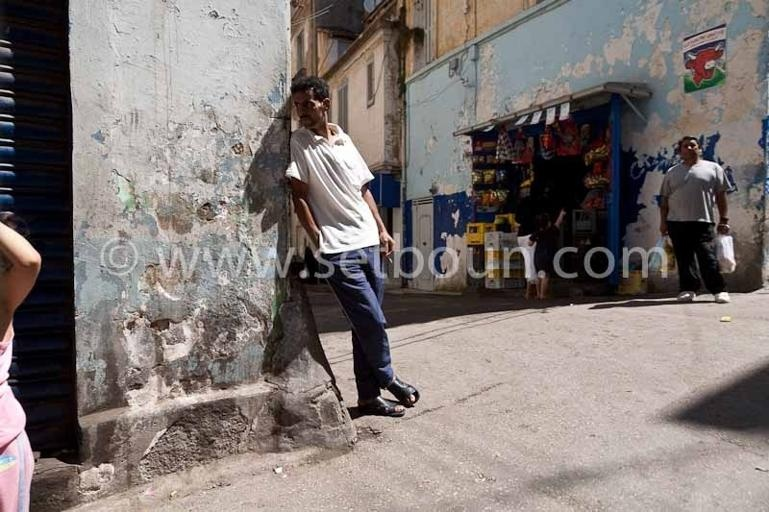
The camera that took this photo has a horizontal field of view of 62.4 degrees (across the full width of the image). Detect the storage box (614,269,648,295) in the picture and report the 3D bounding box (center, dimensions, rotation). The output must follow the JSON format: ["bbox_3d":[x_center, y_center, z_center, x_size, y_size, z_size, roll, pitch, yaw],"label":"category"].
[{"bbox_3d":[3.795,0.441,9.739,0.347,0.398,0.345,-3,-9,29],"label":"storage box"}]

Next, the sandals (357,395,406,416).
[{"bbox_3d":[-0.030,1.180,4.900,0.295,0.139,0.165,-2,0,7],"label":"sandals"}]

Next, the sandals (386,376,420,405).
[{"bbox_3d":[0.155,1.075,4.977,0.323,0.139,0.104,29,-21,48],"label":"sandals"}]

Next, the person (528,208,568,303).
[{"bbox_3d":[2.597,-0.009,10.554,0.472,1.367,0.738,-2,3,32],"label":"person"}]

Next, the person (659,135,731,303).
[{"bbox_3d":[3.770,-0.447,7.719,0.722,2.019,0.380,-2,3,33],"label":"person"}]

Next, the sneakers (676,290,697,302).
[{"bbox_3d":[3.759,0.511,7.897,0.264,0.113,0.100,-12,11,-27],"label":"sneakers"}]

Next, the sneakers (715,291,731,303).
[{"bbox_3d":[4.031,0.496,7.581,0.095,0.131,0.272,1,6,28],"label":"sneakers"}]
